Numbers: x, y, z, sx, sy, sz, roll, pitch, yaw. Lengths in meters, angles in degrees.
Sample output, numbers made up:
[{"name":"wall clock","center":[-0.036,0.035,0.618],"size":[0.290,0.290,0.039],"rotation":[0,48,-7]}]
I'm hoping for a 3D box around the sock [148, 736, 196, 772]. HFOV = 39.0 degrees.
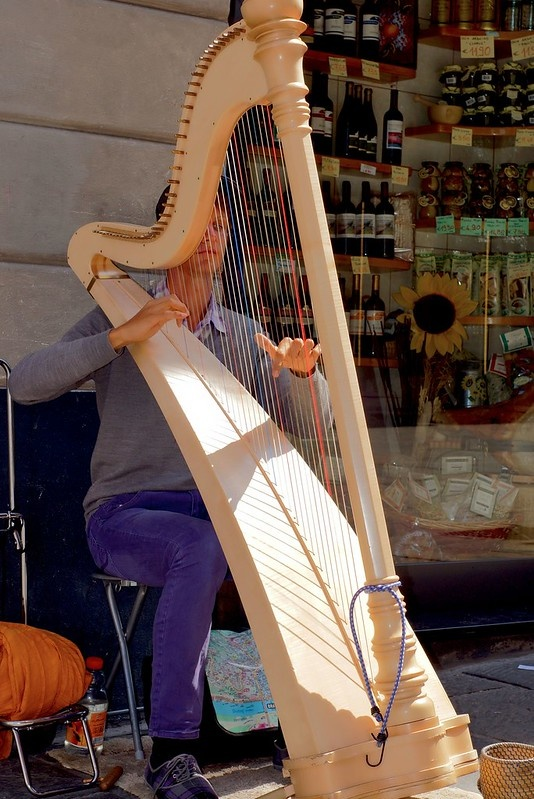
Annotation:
[{"name":"sock","center":[-0.161,0.618,1.329],"size":[0.040,0.043,0.116],"rotation":[5,-11,-36]}]
